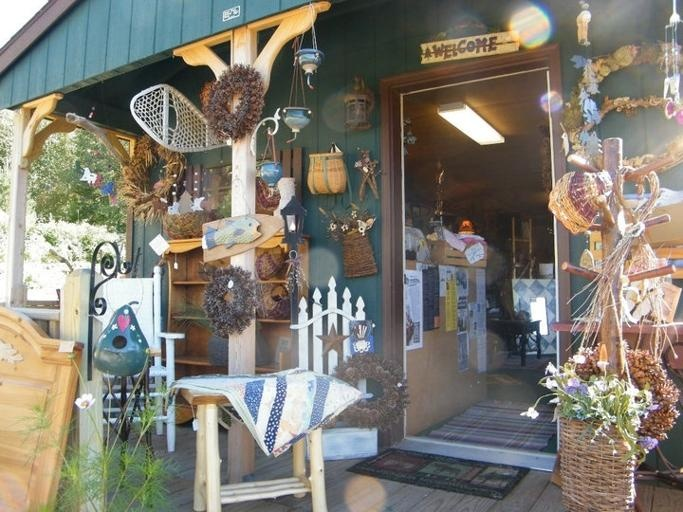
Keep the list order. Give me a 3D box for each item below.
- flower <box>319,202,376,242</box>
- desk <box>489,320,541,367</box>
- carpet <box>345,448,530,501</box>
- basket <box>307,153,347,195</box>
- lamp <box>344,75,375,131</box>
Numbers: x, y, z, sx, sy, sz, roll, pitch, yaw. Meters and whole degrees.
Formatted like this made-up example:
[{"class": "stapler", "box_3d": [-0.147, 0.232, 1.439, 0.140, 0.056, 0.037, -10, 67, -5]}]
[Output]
[{"class": "flower", "box_3d": [0.078, -0.291, 5.612, 0.323, 0.333, 0.114, -30, -5, 26]}, {"class": "desk", "box_3d": [2.708, 1.260, 9.842, 0.546, 0.654, 0.759, -10, -15, 5]}, {"class": "carpet", "box_3d": [0.715, 1.588, 4.808, 1.181, 0.175, 0.611, -6, -5, 24]}, {"class": "basket", "box_3d": [-0.131, -0.697, 5.666, 0.339, 0.369, 0.239, 2, 7, 33]}, {"class": "lamp", "box_3d": [0.144, -1.288, 5.557, 0.238, 0.442, 0.215, -4, -5, 14]}]
